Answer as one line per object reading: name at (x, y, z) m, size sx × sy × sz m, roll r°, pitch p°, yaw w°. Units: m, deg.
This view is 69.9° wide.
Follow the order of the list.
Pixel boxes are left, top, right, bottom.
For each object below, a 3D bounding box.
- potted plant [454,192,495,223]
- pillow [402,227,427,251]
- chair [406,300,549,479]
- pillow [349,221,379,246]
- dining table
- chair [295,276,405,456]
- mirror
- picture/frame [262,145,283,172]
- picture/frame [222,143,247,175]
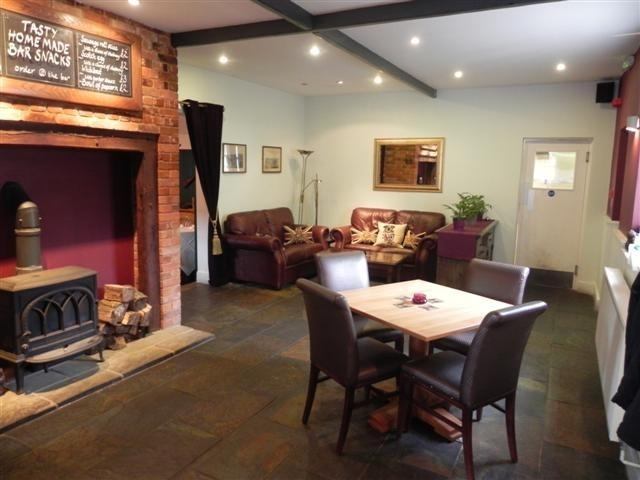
potted plant at (2.340, -0.506, 7.041) m, size 0.582 × 0.413 × 0.575 m, roll -8°, pitch 10°, yaw -39°
pillow at (1.551, -0.018, 7.628) m, size 0.369 × 0.267 × 0.357 m, roll 12°, pitch 18°, yaw 36°
chair at (1.070, 0.963, 3.364) m, size 0.710 × 1.169 × 0.708 m, roll -12°, pitch 19°, yaw -40°
pillow at (0.769, -0.084, 8.014) m, size 0.401 × 0.383 × 0.144 m, roll -3°, pitch -23°, yaw 21°
dining table at (0.905, 1.047, 3.894) m, size 1.175 × 0.979 × 1.279 m, roll -11°, pitch 18°, yaw -34°
chair at (0.273, 0.963, 3.670) m, size 0.880 × 1.158 × 0.796 m, roll 1°, pitch 4°, yaw -12°
mirror at (1.560, -1.348, 8.123) m, size 1.289 × 0.943 × 0.118 m, roll 8°, pitch 17°, yaw 26°
picture/frame at (-0.858, -1.425, 8.111) m, size 0.036 × 0.488 × 0.558 m, roll 10°, pitch 17°, yaw 31°
picture/frame at (-1.375, -1.297, 7.222) m, size 0.023 × 0.380 × 0.532 m, roll 3°, pitch 8°, yaw 24°
